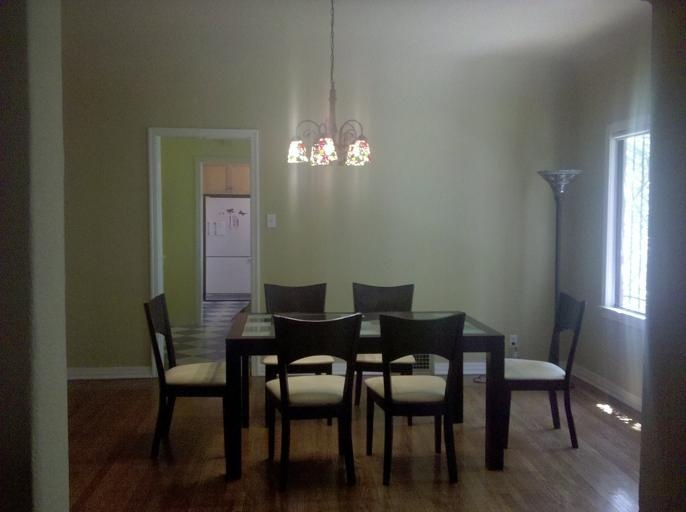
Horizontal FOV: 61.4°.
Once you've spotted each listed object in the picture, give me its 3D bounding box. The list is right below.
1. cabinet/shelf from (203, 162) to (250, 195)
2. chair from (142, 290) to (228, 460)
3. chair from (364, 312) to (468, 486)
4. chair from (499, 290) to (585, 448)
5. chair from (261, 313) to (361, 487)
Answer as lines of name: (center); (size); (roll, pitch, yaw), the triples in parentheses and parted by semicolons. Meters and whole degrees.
cabinet/shelf: (-1.830, -1.227, 9.029); (0.545, 0.384, 0.317); (-1, -4, 1)
chair: (-0.914, 0.701, 3.498); (0.481, 0.905, 0.490); (-1, 3, -11)
chair: (0.381, 0.753, 3.273); (0.490, 0.958, 0.585); (1, 3, -1)
chair: (1.232, 0.718, 3.707); (0.556, 0.898, 0.591); (0, 3, -11)
chair: (-0.165, 0.726, 3.214); (0.514, 0.921, 0.541); (-1, 6, -9)
